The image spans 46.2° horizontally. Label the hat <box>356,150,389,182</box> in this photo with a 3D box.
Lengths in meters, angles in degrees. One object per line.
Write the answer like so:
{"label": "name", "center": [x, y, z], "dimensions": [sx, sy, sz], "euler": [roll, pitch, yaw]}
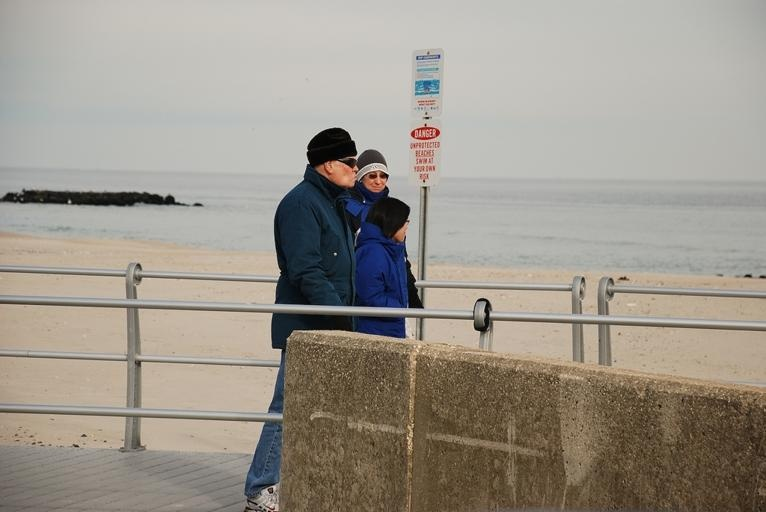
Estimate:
{"label": "hat", "center": [-0.111, -0.841, 8.205], "dimensions": [0.291, 0.278, 0.273], "euler": [-2, -6, 40]}

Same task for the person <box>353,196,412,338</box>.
{"label": "person", "center": [-0.006, 0.078, 6.606], "dimensions": [0.444, 1.077, 0.821], "euler": [-7, -4, 6]}

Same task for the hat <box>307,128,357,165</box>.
{"label": "hat", "center": [-0.364, -0.769, 6.319], "dimensions": [0.283, 0.186, 0.285], "euler": [-5, 7, -4]}
